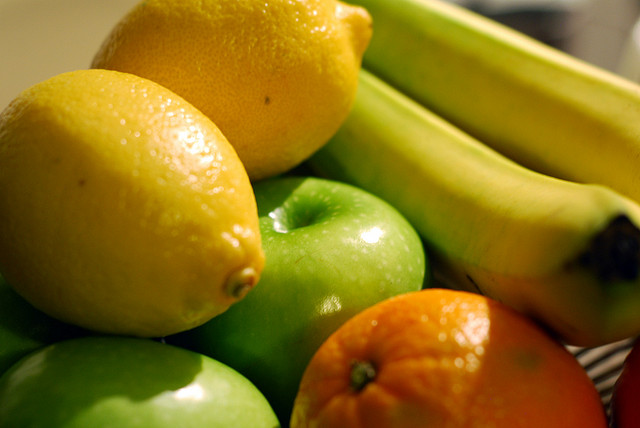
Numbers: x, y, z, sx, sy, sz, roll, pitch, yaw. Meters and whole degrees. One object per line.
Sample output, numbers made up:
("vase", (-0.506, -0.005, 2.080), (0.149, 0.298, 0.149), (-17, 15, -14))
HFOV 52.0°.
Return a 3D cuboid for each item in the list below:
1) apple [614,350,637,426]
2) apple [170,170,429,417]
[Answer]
("apple", (0.290, 0.166, 0.631), (0.028, 0.044, 0.056), (7, 99, 17))
("apple", (-0.029, 0.062, 0.789), (0.240, 0.257, 0.255), (-19, 15, 1))
